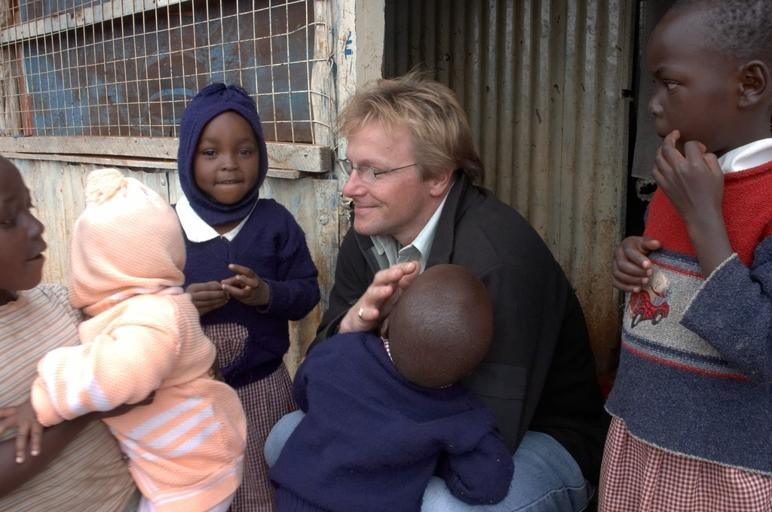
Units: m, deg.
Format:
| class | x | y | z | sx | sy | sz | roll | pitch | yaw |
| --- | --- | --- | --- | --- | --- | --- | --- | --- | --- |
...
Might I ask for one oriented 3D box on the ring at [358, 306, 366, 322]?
| class | x | y | z | sx | sy | sz | roll | pitch | yaw |
| --- | --- | --- | --- | --- | --- | --- | --- | --- | --- |
| ring | -0.119 | 0.278 | 2.890 | 0.021 | 0.061 | 0.043 | -1 | 10 | -25 |
